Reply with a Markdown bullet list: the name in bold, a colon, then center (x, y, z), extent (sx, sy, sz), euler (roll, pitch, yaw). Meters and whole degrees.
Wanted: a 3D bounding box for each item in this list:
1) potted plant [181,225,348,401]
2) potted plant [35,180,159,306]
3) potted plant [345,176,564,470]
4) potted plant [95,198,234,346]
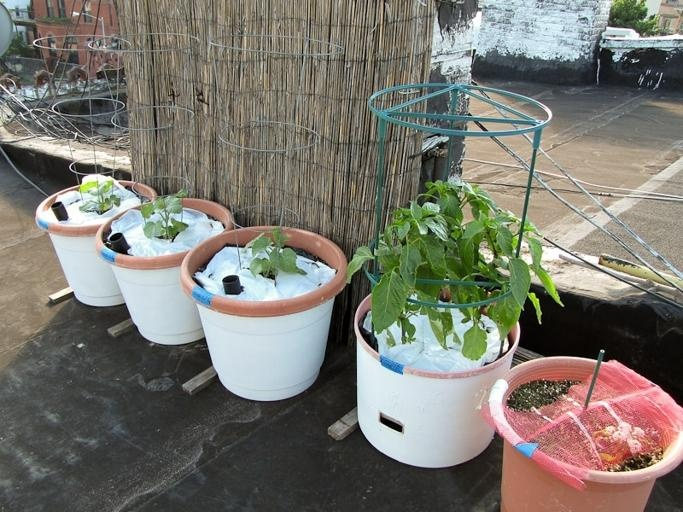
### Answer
- **potted plant**: center (-0.348, 0.351, 3.273), extent (1.155, 0.733, 1.009), euler (10, 31, 9)
- **potted plant**: center (-1.561, -0.074, 3.415), extent (0.701, 0.542, 0.654), euler (23, 33, 12)
- **potted plant**: center (0.482, 0.351, 2.556), extent (0.876, 1.361, 0.706), euler (18, 36, 25)
- **potted plant**: center (-1.039, 0.091, 3.557), extent (1.021, 0.668, 0.911), euler (13, 33, 14)
